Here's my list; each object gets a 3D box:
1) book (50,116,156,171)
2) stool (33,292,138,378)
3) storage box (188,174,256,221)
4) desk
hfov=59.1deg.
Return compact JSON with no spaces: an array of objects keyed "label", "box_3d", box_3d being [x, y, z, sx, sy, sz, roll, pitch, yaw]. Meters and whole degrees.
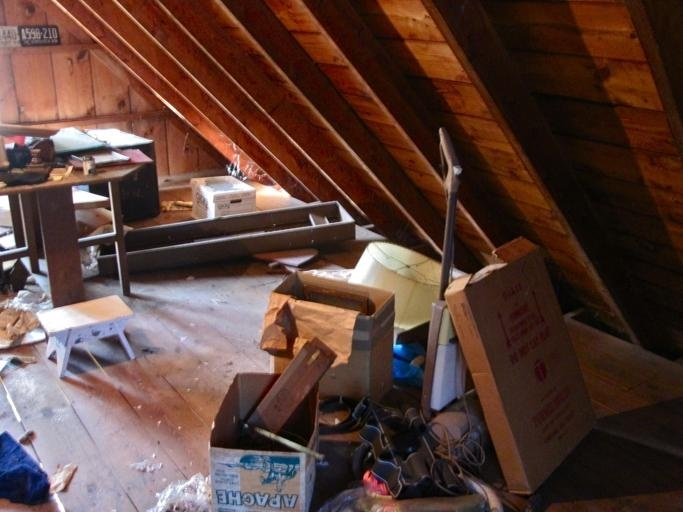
[{"label":"book","box_3d":[-1.312,-0.594,3.280,0.458,0.106,0.429,-6,27,-24]},{"label":"stool","box_3d":[-1.154,0.353,2.746,0.363,0.246,0.242,-13,34,-37]},{"label":"storage box","box_3d":[-0.834,-0.424,4.210,0.380,0.224,0.374,-13,31,-35]},{"label":"desk","box_3d":[-1.382,-0.083,3.160,0.719,0.600,0.827,-19,30,-31]}]
